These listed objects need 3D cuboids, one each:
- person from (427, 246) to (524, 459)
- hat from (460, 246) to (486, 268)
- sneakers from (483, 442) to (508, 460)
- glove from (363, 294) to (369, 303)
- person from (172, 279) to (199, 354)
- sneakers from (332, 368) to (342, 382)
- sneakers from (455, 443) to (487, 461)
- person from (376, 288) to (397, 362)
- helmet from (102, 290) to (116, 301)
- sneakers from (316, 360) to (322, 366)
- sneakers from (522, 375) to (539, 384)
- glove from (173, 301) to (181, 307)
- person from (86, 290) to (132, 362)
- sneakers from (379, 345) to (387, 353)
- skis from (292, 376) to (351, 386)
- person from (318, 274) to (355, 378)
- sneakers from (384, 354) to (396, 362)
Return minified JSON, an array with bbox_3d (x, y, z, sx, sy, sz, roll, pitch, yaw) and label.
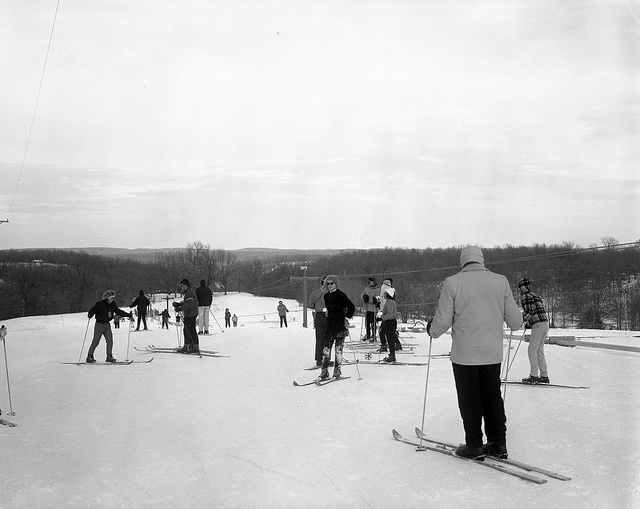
[{"bbox_3d":[2.018,1.234,8.123,1.122,2.714,0.550,0,-1,10],"label":"person"},{"bbox_3d":[2.014,0.026,8.266,0.320,0.401,0.470,-3,-2,8],"label":"hat"},{"bbox_3d":[2.206,2.458,7.993,0.136,0.184,0.381,-2,9,-31],"label":"sneakers"},{"bbox_3d":[1.334,1.254,17.965,0.141,0.200,0.191,0,-16,3],"label":"glove"},{"bbox_3d":[-3.710,1.707,17.487,0.649,2.061,1.372,1,-1,-13],"label":"person"},{"bbox_3d":[0.318,2.450,12.884,0.150,0.231,0.206,4,-7,-42],"label":"sneakers"},{"bbox_3d":[1.944,2.506,7.958,0.319,0.159,0.167,10,3,44],"label":"sneakers"},{"bbox_3d":[1.682,1.682,15.321,0.438,1.890,0.831,1,-1,6],"label":"person"},{"bbox_3d":[-5.103,0.911,15.103,0.197,0.307,0.289,3,34,2],"label":"helmet"},{"bbox_3d":[-0.015,2.514,14.533,0.097,0.221,0.107,0,0,-3],"label":"sneakers"},{"bbox_3d":[4.091,2.420,12.089,0.316,0.183,0.123,4,2,24],"label":"sneakers"},{"bbox_3d":[-4.061,1.352,17.722,0.226,0.114,0.319,9,-18,-28],"label":"glove"},{"bbox_3d":[-5.157,1.753,15.241,1.029,1.759,0.653,4,-2,-30],"label":"person"},{"bbox_3d":[1.703,2.552,16.817,0.190,0.215,0.263,-1,3,0],"label":"sneakers"},{"bbox_3d":[0.064,2.544,12.575,0.796,0.093,0.115,-1,-1,-44],"label":"skis"},{"bbox_3d":[0.329,1.485,12.759,0.674,2.107,0.485,1,-1,2],"label":"person"},{"bbox_3d":[1.723,2.541,15.194,0.131,0.202,0.402,-7,-17,34],"label":"sneakers"}]
